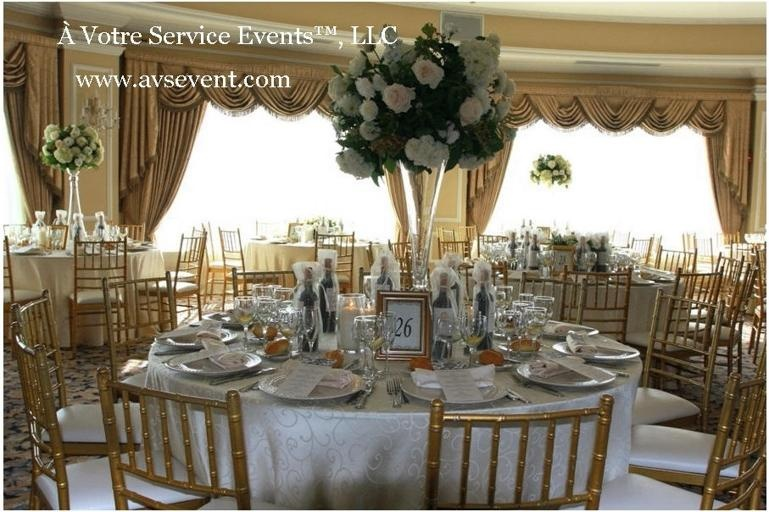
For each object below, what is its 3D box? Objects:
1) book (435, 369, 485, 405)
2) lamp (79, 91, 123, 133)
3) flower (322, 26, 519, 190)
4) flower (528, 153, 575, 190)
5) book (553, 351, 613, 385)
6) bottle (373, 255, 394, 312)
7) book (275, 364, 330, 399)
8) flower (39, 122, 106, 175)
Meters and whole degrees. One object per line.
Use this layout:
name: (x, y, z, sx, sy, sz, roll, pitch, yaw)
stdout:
book: (0.360, 0.627, 2.719, 0.209, 0.109, 0.181, 2, 9, -4)
lamp: (-3.961, -1.929, 7.683, 0.379, 0.502, 0.285, -5, 10, -27)
flower: (0.176, -0.719, 3.356, 0.916, 0.796, 0.916, 2, -1, -19)
flower: (2.531, -1.343, 8.779, 0.610, 0.364, 0.603, -3, 45, -5)
book: (1.043, 0.589, 2.909, 0.140, 0.035, 0.245, -6, 18, -36)
bottle: (0.003, 0.166, 3.282, 0.112, 0.287, 0.114, 5, -10, 1)
book: (-0.396, 0.603, 2.726, 0.182, 0.104, 0.208, 6, 10, 21)
flower: (-3.745, -1.208, 6.792, 0.591, 0.580, 0.564, -11, 19, -28)
